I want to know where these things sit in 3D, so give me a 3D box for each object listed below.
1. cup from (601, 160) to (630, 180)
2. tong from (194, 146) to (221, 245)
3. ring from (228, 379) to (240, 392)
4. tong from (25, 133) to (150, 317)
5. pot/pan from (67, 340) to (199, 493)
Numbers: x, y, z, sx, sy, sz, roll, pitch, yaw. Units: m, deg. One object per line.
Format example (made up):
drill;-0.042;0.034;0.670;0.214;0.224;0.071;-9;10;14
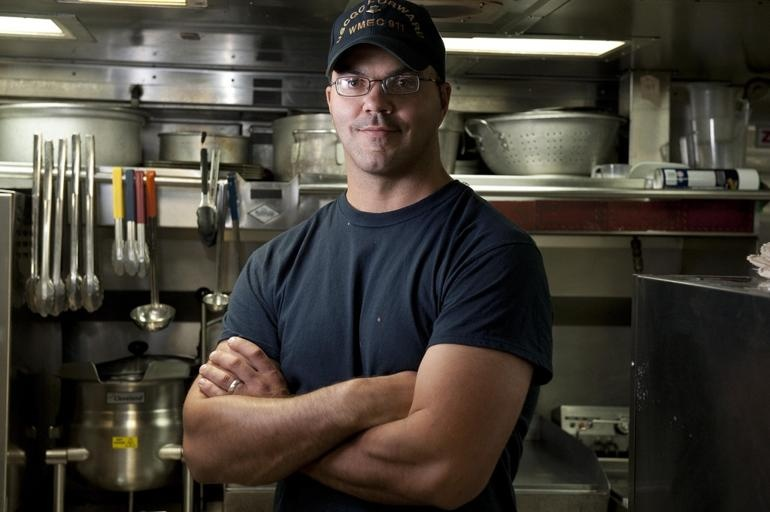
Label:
cup;0.893;-0.333;3.137;0.084;0.056;0.064;1;2;22
tong;-0.664;-0.224;3.007;0.097;0.334;0.062;0;-3;-4
ring;-0.409;0.352;2.200;0.013;0.032;0.033;34;8;10
tong;-1.125;-0.118;3.019;0.379;0.659;0.250;1;-1;-22
pot/pan;-0.874;0.604;3.140;0.524;0.505;0.475;-1;-6;11
